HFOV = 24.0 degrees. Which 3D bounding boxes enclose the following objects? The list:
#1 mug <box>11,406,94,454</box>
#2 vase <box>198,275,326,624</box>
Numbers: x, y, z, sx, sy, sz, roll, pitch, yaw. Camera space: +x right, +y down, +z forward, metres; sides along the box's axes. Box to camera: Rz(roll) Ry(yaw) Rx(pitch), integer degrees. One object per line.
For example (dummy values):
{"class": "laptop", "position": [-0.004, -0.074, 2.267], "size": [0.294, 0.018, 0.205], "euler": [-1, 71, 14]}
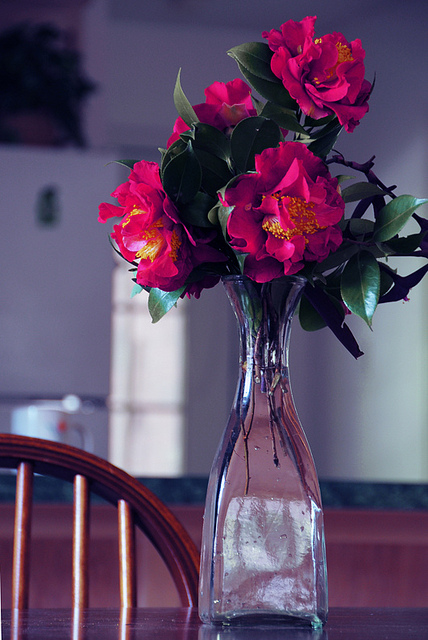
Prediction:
{"class": "mug", "position": [-0.264, 0.175, 1.630], "size": [0.085, 0.037, 0.117], "euler": [-7, -16, 41]}
{"class": "vase", "position": [0.042, 0.124, 0.938], "size": [0.118, 0.330, 0.074], "euler": [-1, 4, -3]}
